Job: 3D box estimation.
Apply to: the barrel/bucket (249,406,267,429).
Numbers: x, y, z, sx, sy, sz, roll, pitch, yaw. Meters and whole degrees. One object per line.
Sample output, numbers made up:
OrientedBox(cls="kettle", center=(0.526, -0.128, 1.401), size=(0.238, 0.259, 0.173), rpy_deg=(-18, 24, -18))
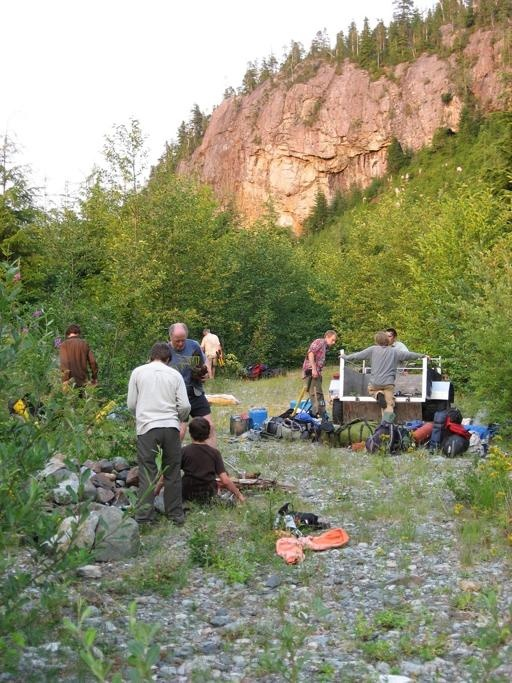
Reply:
OrientedBox(cls="barrel/bucket", center=(0.039, 1.313, 12.583), size=(0.299, 0.471, 0.298), rpy_deg=(-2, -7, 0))

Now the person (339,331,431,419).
OrientedBox(cls="person", center=(2.358, 0.620, 13.088), size=(1.495, 1.654, 0.651), rpy_deg=(2, 34, 8))

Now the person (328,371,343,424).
OrientedBox(cls="person", center=(1.376, 1.012, 12.724), size=(0.195, 0.810, 0.188), rpy_deg=(2, 16, 26))

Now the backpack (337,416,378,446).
OrientedBox(cls="backpack", center=(1.593, 1.450, 11.891), size=(0.615, 0.188, 0.457), rpy_deg=(0, 12, 35))

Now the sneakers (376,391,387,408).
OrientedBox(cls="sneakers", center=(1.878, 0.859, 11.050), size=(0.111, 0.304, 0.213), rpy_deg=(-17, -4, 3))

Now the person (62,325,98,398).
OrientedBox(cls="person", center=(-2.474, 0.398, 10.320), size=(0.520, 1.321, 0.405), rpy_deg=(-6, 25, -17))

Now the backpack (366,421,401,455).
OrientedBox(cls="backpack", center=(1.841, 1.386, 10.505), size=(0.511, 0.488, 0.363), rpy_deg=(20, -19, -40))

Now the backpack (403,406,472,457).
OrientedBox(cls="backpack", center=(2.568, 1.291, 10.322), size=(0.786, 0.585, 0.396), rpy_deg=(3, 5, 5))

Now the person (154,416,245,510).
OrientedBox(cls="person", center=(-0.494, 1.210, 7.274), size=(0.858, 0.929, 0.623), rpy_deg=(-1, 10, -15))

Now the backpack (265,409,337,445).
OrientedBox(cls="backpack", center=(0.690, 1.363, 11.634), size=(0.780, 0.335, 0.562), rpy_deg=(5, 1, 23))

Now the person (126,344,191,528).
OrientedBox(cls="person", center=(-0.857, 0.831, 6.667), size=(0.563, 1.153, 0.490), rpy_deg=(-1, -1, -18))
